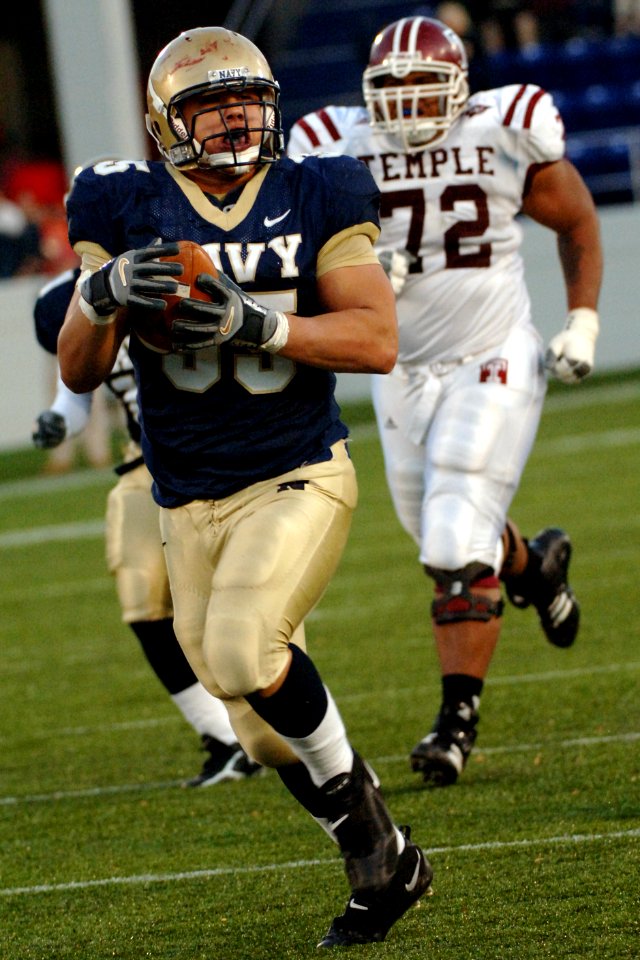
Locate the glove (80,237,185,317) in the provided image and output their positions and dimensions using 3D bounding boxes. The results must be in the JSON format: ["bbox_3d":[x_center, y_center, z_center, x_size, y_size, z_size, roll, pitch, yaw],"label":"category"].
[{"bbox_3d":[-0.254,-0.270,1.506,0.120,0.031,0.114,13,-29,-41],"label":"glove"}]

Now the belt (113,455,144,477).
[{"bbox_3d":[-0.513,-0.041,2.960,0.077,0.026,0.055,-24,5,33],"label":"belt"}]

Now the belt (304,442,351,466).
[{"bbox_3d":[0.015,-0.045,1.783,0.054,0.037,0.037,-12,-8,5],"label":"belt"}]

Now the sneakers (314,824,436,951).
[{"bbox_3d":[0.081,0.603,1.643,0.079,0.101,0.240,-10,11,42],"label":"sneakers"}]

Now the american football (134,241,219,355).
[{"bbox_3d":[-0.247,-0.264,1.582,0.071,0.156,0.129,41,7,21],"label":"american football"}]

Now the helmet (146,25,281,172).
[{"bbox_3d":[-0.175,-0.649,1.815,0.218,0.196,0.272,-16,26,-22],"label":"helmet"}]

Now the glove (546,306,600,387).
[{"bbox_3d":[0.656,-0.349,2.742,0.122,0.078,0.203,18,65,19],"label":"glove"}]

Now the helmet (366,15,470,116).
[{"bbox_3d":[0.271,-1.093,2.874,0.273,0.242,0.337,8,26,25],"label":"helmet"}]

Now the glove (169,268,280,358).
[{"bbox_3d":[-0.130,-0.228,1.529,0.175,0.056,0.083,0,62,-38],"label":"glove"}]
